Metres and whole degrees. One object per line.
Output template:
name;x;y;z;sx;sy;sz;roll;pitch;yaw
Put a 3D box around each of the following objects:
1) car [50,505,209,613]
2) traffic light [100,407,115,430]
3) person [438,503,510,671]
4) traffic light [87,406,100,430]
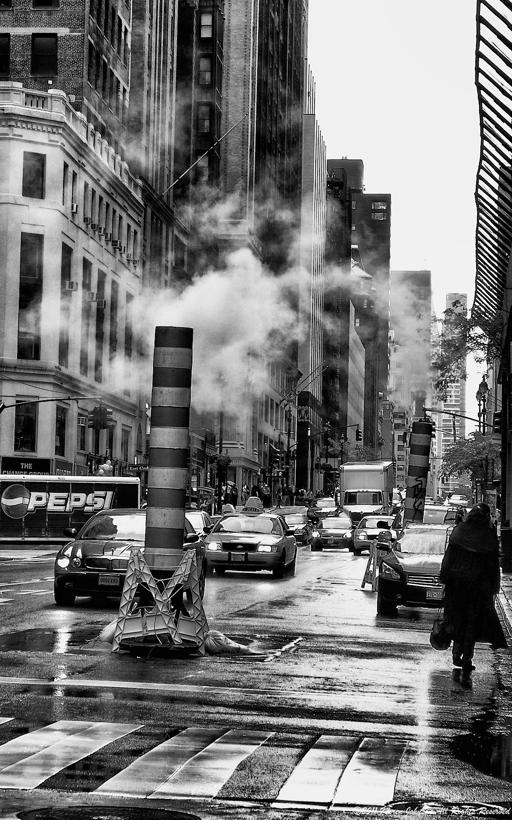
car;-2.042;2.049;15.906;1.088;1.060;2.874;0;-6;7
traffic light;-6.784;0.422;52.032;0.929;1.151;0.567;1;-7;0
person;2.015;1.651;10.487;0.612;1.567;0.527;2;-4;12
traffic light;-6.639;0.330;47.271;0.383;0.795;1.223;4;-5;-19
